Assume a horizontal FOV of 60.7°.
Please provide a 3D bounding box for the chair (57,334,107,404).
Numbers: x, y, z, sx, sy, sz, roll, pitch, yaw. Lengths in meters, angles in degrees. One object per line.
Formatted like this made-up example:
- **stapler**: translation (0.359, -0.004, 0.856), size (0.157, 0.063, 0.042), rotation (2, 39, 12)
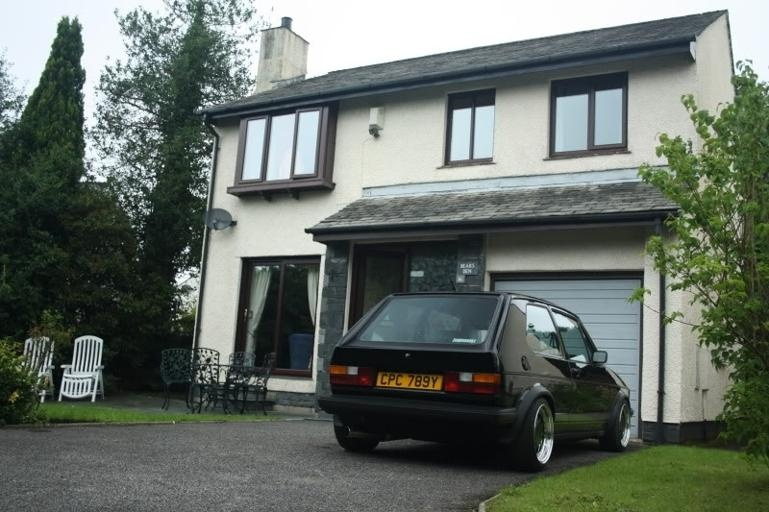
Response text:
- **chair**: translation (-7.443, 2.743, 16.331), size (0.834, 1.573, 1.234), rotation (6, -11, -23)

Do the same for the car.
- **car**: translation (1.314, 1.687, 9.145), size (4.234, 2.350, 1.781), rotation (5, -11, -21)

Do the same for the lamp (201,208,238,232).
- **lamp**: translation (-4.359, -1.023, 17.566), size (0.953, 0.625, 0.272), rotation (0, -10, 10)
